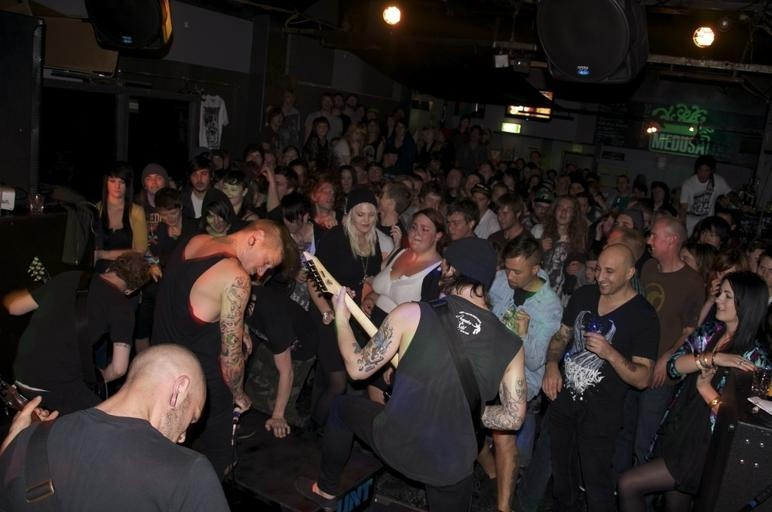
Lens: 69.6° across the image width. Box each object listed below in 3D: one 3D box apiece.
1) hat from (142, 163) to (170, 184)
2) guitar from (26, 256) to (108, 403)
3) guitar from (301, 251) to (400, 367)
[{"bbox_3d":[-3.141,-1.176,7.642,0.301,0.238,0.311,-2,-20,1],"label":"hat"},{"bbox_3d":[-2.645,0.715,4.719,0.896,1.133,0.404,-2,13,-28],"label":"guitar"},{"bbox_3d":[-0.375,0.325,4.670,0.873,0.136,0.331,38,2,-6],"label":"guitar"}]
